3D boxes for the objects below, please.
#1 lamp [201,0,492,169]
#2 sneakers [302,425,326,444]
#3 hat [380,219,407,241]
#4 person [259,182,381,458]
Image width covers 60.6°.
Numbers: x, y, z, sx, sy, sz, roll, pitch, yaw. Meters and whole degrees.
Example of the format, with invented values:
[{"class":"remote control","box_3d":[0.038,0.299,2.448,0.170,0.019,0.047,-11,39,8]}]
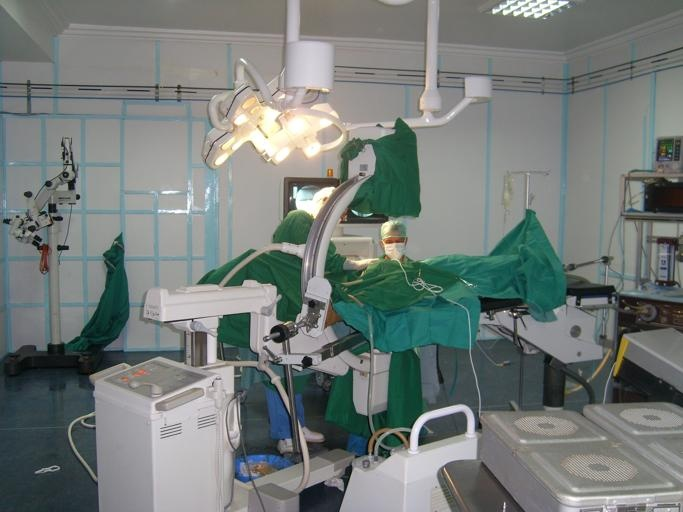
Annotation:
[{"class":"lamp","box_3d":[-0.095,-1.022,3.265,0.949,1.038,1.199,7,11,35]},{"class":"sneakers","box_3d":[-0.148,1.237,4.060,0.240,0.105,0.108,0,1,6]},{"class":"hat","box_3d":[0.363,-0.184,3.959,0.123,0.167,0.168,1,-7,0]},{"class":"person","box_3d":[-0.129,0.452,3.393,0.647,1.830,0.982,-1,9,-6]}]
